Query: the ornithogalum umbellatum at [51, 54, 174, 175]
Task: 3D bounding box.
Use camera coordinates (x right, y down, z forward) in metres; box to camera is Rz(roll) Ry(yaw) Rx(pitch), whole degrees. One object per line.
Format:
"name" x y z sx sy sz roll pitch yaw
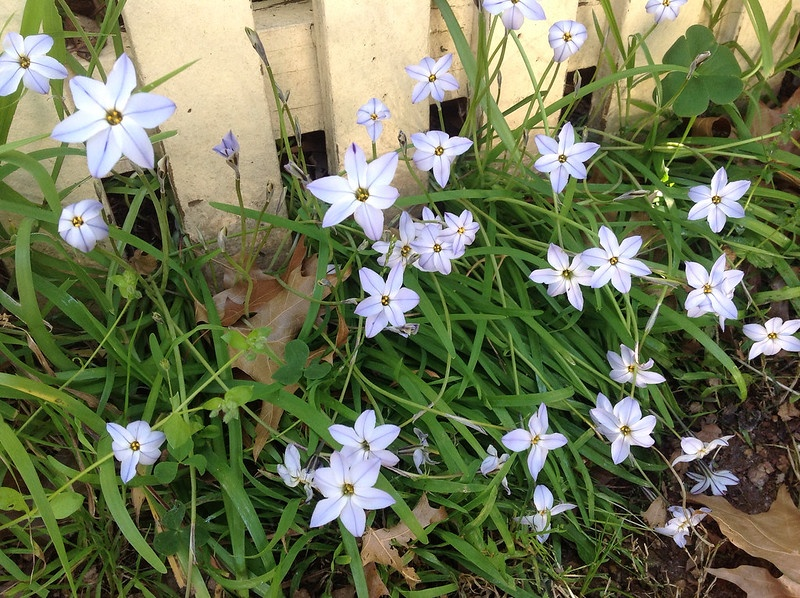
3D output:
"ornithogalum umbellatum" -0.659 -0.409 1.481 0.262 0.302 0.074 -1 4 -1

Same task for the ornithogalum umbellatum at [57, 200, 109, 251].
"ornithogalum umbellatum" -0.820 -0.187 1.721 0.125 0.101 0.102 -23 47 -12

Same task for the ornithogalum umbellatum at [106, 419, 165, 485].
"ornithogalum umbellatum" -0.692 0.386 1.759 0.139 0.159 0.101 -27 47 -16

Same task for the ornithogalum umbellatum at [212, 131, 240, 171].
"ornithogalum umbellatum" -0.488 -0.443 1.934 0.084 0.094 0.053 -30 87 -17
